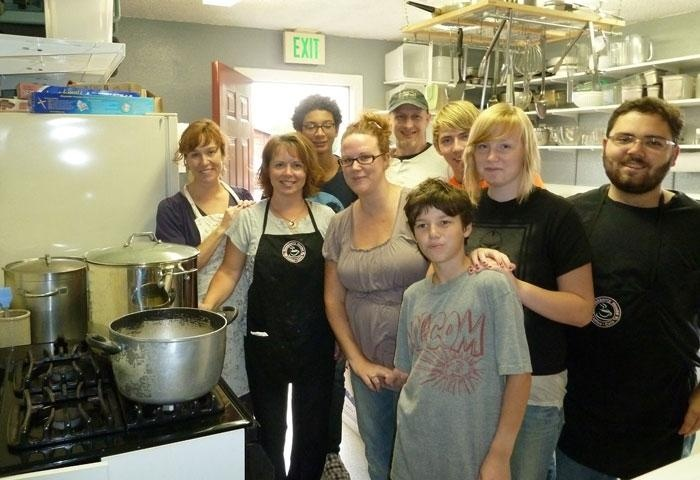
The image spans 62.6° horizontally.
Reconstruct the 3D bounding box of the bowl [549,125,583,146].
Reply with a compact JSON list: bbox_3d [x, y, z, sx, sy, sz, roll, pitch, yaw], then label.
[{"bbox_3d":[1.887,-0.903,5.027,0.243,0.152,0.203,0,4,5],"label":"bowl"}]

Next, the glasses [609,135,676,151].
[{"bbox_3d":[1.108,-0.369,2.180,0.215,0.065,0.067,2,11,25],"label":"glasses"}]

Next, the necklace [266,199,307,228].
[{"bbox_3d":[-0.272,-0.115,2.546,0.128,0.154,0.057,1,-4,-8],"label":"necklace"}]

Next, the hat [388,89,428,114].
[{"bbox_3d":[0.313,-0.743,3.082,0.134,0.084,0.172,-1,-3,6],"label":"hat"}]

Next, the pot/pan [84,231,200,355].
[{"bbox_3d":[-0.822,0.165,2.235,0.396,0.361,0.403,-5,14,-41],"label":"pot/pan"}]

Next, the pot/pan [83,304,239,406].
[{"bbox_3d":[-0.605,0.269,1.841,0.292,0.183,0.493,4,5,39],"label":"pot/pan"}]

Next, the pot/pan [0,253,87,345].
[{"bbox_3d":[-1.113,0.209,2.323,0.357,0.342,0.365,1,3,5],"label":"pot/pan"}]

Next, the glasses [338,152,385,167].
[{"bbox_3d":[0.050,-0.327,2.385,0.181,0.046,0.069,-2,9,2],"label":"glasses"}]
